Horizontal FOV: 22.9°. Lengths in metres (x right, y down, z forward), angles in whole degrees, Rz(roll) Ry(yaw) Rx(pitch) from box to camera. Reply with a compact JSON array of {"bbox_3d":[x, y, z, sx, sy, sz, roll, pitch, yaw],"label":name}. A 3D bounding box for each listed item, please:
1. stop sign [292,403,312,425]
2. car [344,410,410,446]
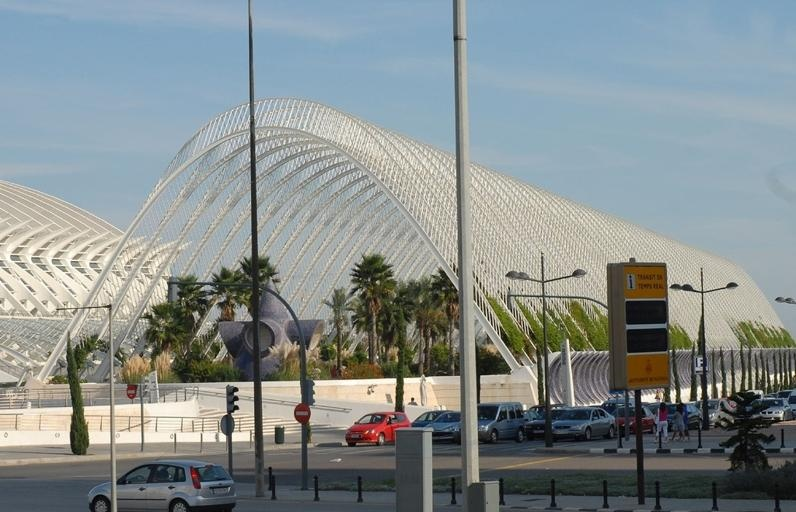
[{"bbox_3d":[-7.010,11.707,144.491,1.040,1.700,1.554,-2,-10,-4],"label":"stop sign"},{"bbox_3d":[-1.728,14.273,161.037,4.782,2.815,2.268,-2,-10,-1],"label":"car"}]
